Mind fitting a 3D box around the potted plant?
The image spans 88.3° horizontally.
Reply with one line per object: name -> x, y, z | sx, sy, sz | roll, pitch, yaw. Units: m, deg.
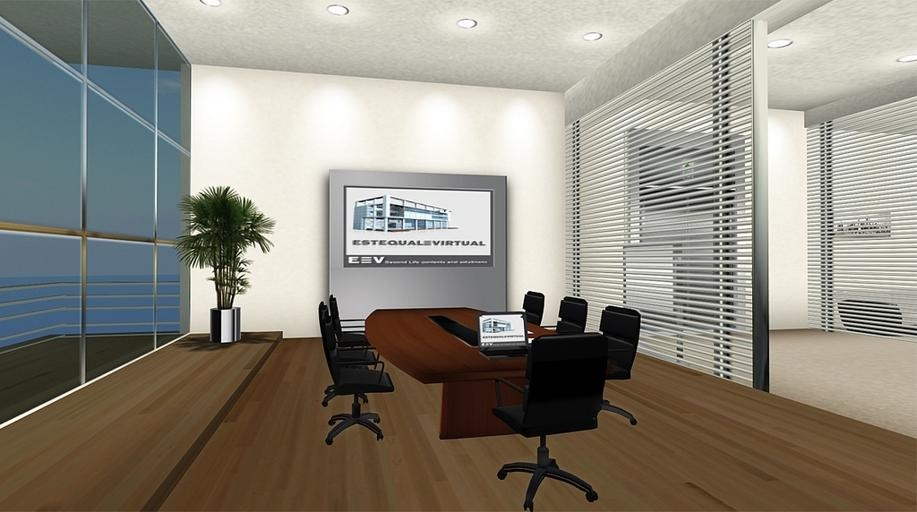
potted plant -> -4.351, 0.064, 8.695 | 1.658, 2.921, 1.580 | 0, 0, -16

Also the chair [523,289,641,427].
chair -> 2.246, 1.347, 6.768 | 1.776, 1.792, 1.708 | 2, -6, -17

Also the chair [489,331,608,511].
chair -> 0.976, 1.654, 4.850 | 1.112, 1.759, 0.441 | 0, 0, 3
